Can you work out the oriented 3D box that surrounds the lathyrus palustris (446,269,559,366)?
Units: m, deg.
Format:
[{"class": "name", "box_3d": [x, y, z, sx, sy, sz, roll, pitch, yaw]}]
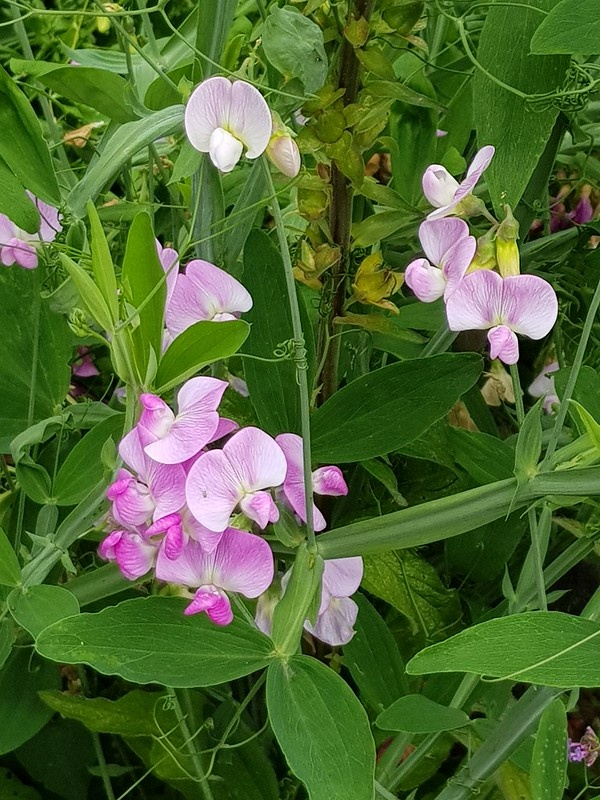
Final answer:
[{"class": "lathyrus palustris", "box_3d": [0.122, -0.046, 0.445, 0.082, 0.026, 0.067, 6, -5, -26]}]
